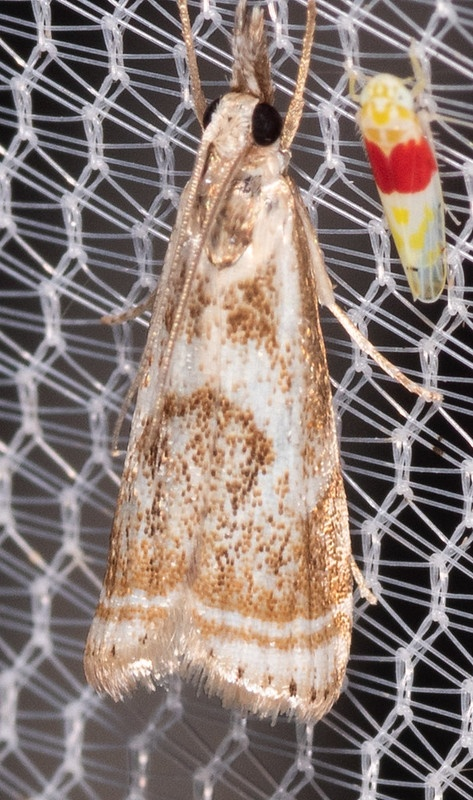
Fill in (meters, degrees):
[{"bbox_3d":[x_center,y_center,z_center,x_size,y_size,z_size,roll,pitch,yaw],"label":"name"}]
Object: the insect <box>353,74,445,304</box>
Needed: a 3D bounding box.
[{"bbox_3d":[0.207,-0.241,1.085,0.088,0.095,0.288,-9,-68,15],"label":"insect"}]
